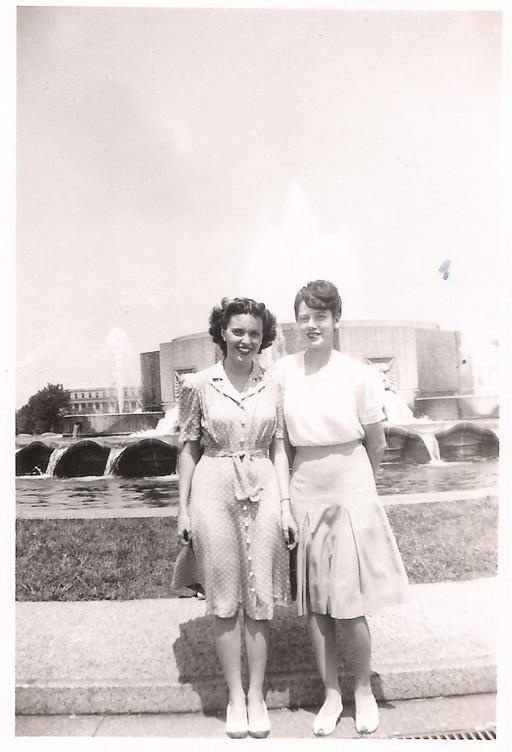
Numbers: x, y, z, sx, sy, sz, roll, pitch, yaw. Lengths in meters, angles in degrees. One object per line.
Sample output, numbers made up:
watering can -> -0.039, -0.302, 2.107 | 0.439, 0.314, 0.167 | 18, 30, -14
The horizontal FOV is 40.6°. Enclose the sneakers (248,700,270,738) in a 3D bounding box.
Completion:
sneakers -> 0.013, 1.624, 3.289 | 0.105, 0.197, 0.093 | -3, 13, -3

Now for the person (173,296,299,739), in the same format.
person -> -0.114, 0.668, 3.409 | 0.617, 2.032, 0.763 | -3, 13, -7

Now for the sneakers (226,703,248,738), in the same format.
sneakers -> -0.089, 1.644, 3.285 | 0.103, 0.163, 0.078 | -2, 13, 0

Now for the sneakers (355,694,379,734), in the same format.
sneakers -> 0.534, 1.621, 3.325 | 0.110, 0.183, 0.127 | 0, 13, 10
